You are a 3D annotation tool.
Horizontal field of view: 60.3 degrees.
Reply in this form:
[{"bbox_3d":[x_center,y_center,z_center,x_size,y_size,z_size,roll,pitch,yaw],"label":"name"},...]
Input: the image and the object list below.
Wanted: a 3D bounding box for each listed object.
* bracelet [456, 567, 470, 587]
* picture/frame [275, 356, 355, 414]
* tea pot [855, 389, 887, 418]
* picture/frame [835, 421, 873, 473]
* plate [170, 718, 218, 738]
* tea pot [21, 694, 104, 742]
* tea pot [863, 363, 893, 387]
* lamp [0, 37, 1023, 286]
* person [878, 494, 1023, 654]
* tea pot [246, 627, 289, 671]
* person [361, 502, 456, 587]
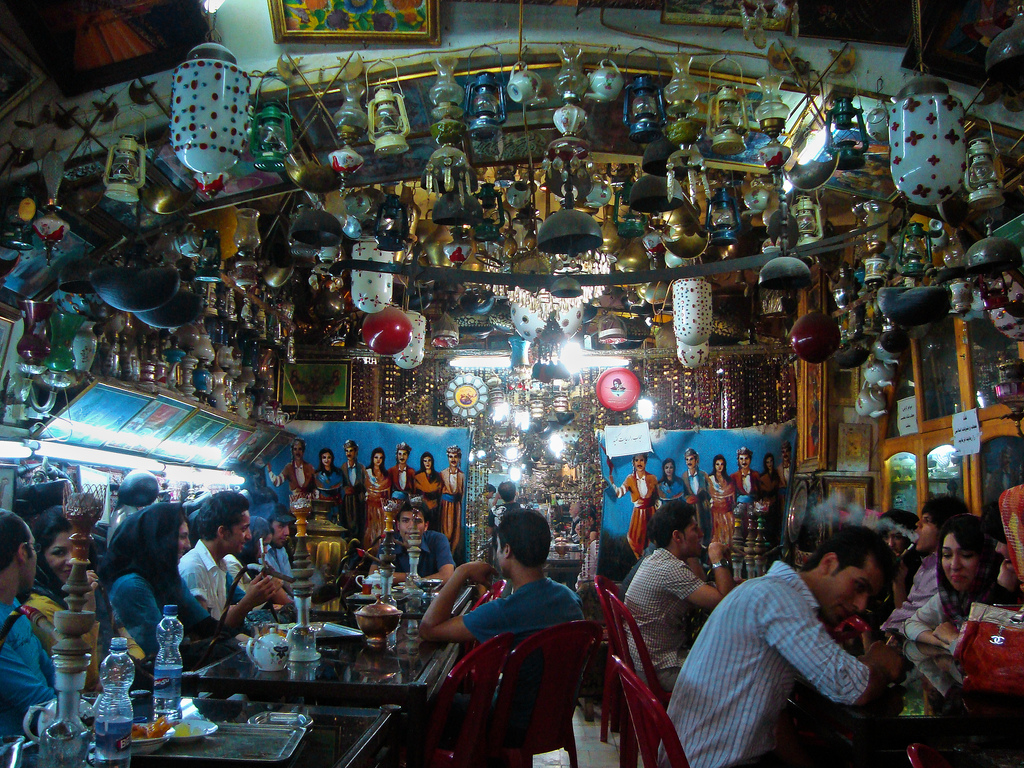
[{"bbox_3d":[-0.239,0.970,4.416,0.077,0.076,0.076,-2,-25,-7],"label":"bracelet"},{"bbox_3d":[-2.409,0.030,10.564,0.679,0.486,0.095,0,3,-2],"label":"picture/frame"},{"bbox_3d":[2.571,0.145,6.297,0.155,0.210,0.183,11,-7,25],"label":"tea pot"},{"bbox_3d":[3.074,0.574,7.853,0.071,0.537,0.383,18,-19,-28],"label":"picture/frame"},{"bbox_3d":[-1.063,1.156,2.956,0.141,0.049,0.164,0,-14,-5],"label":"plate"},{"bbox_3d":[-1.486,1.094,2.892,0.205,0.140,0.523,6,-15,-25],"label":"tea pot"},{"bbox_3d":[2.460,-0.052,5.935,0.172,0.132,0.141,-26,0,-4],"label":"tea pot"},{"bbox_3d":[0.554,-1.201,4.807,2.679,0.580,2.463,-1,-1,-1],"label":"lamp"},{"bbox_3d":[2.289,1.020,4.678,0.608,0.834,0.876,2,-8,2],"label":"person"},{"bbox_3d":[-1.074,1.169,3.840,0.126,0.125,0.168,5,-10,-27],"label":"tea pot"},{"bbox_3d":[-0.848,1.525,7.581,0.706,0.997,0.596,-4,-16,4],"label":"person"}]
